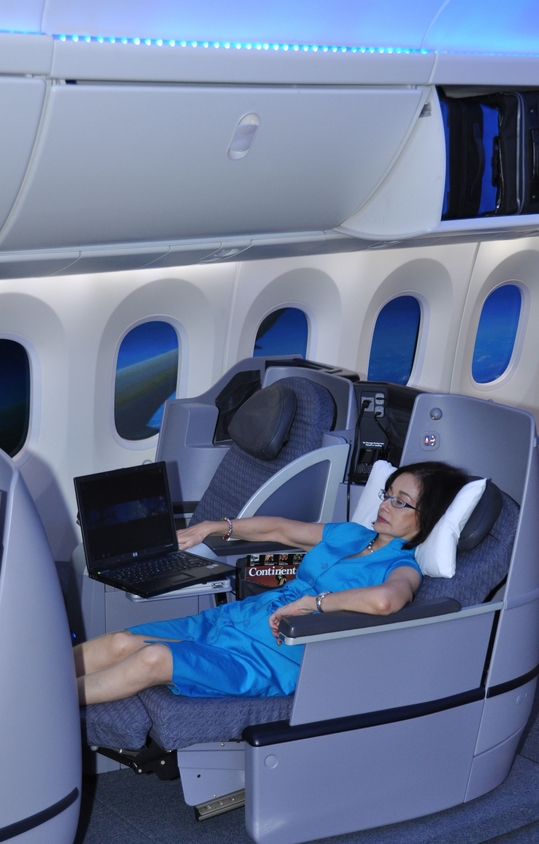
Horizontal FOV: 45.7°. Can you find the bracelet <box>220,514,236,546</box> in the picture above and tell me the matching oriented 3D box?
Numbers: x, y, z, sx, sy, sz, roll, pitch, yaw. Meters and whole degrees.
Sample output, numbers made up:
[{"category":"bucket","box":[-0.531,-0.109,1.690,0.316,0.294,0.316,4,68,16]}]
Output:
[{"category":"bracelet","box":[-0.147,0.386,2.283,0.054,0.088,0.076,2,5,2]}]

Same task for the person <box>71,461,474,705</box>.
[{"category":"person","box":[-0.023,0.465,1.869,1.125,0.692,0.715,4,9,-27]}]

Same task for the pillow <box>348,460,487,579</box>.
[{"category":"pillow","box":[0.502,0.294,1.870,0.306,0.320,0.096,25,8,40]}]

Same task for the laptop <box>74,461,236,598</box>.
[{"category":"laptop","box":[-0.407,0.382,2.275,0.483,0.441,0.464,9,12,44]}]

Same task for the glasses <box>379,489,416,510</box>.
[{"category":"glasses","box":[0.384,0.241,1.918,0.063,0.019,0.060,26,-5,-25]}]

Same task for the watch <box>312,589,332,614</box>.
[{"category":"watch","box":[0.134,0.460,1.657,0.033,0.057,0.056,4,-1,14]}]
